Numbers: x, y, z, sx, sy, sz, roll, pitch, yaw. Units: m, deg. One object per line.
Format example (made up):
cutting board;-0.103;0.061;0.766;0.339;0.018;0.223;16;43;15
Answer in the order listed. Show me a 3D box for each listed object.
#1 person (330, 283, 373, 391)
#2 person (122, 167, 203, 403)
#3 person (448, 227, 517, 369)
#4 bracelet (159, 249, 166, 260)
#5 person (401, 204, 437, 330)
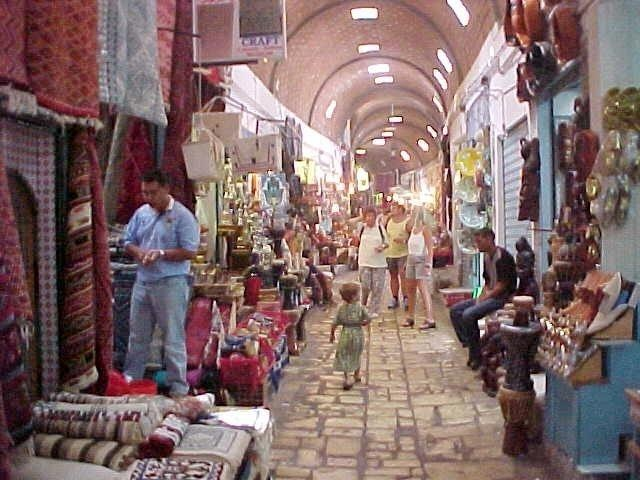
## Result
person;0.319;1.046;6.577;0.415;1.128;0.488;1;5;36
person;-1.454;0.366;5.242;0.676;1.968;0.552;-1;4;14
person;1.951;0.682;7.044;0.812;1.656;0.615;1;5;28
bracelet;-1.361;0.128;5.109;0.054;0.063;0.058;-1;3;1
person;1.595;0.420;9.490;0.510;1.879;0.995;-1;4;11
